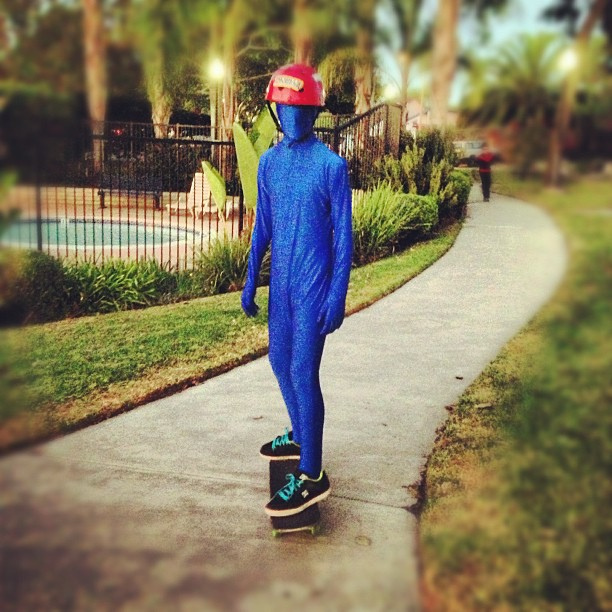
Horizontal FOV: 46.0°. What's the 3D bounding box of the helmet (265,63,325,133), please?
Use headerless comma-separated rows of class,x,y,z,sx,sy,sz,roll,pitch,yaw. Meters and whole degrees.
helmet,-0.039,-0.730,2.504,0.200,0.266,0.230,3,21,-12

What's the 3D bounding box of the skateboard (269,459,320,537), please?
skateboard,-0.045,0.757,2.752,0.156,0.118,0.446,-2,8,-5

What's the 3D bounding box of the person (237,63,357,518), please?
person,-0.015,-0.044,2.670,0.326,1.599,0.790,-3,9,-17
